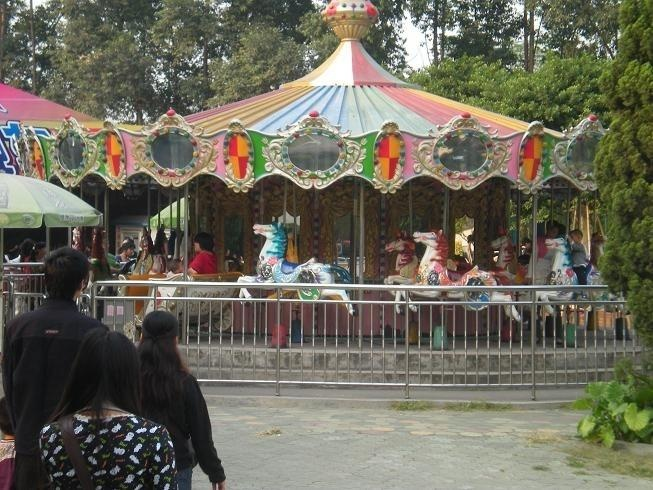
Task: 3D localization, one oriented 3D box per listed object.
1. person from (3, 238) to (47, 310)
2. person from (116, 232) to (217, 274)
[{"bbox_3d":[-5.737,0.605,24.518,0.681,0.915,1.339,0,0,7],"label":"person"},{"bbox_3d":[-3.011,0.199,26.288,1.519,0.976,0.796,1,1,7],"label":"person"}]
